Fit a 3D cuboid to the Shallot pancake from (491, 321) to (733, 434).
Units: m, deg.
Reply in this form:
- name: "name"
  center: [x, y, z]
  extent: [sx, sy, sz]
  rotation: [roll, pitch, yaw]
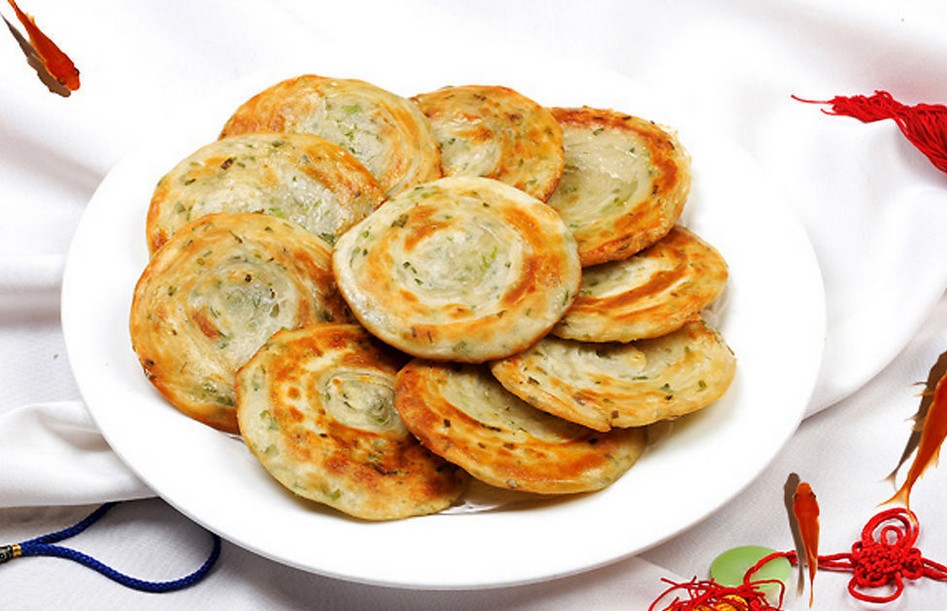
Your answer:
- name: "Shallot pancake"
  center: [0.618, 0.359, 4.773]
  extent: [0.971, 0.750, 0.259]
  rotation: [-5, 106, -10]

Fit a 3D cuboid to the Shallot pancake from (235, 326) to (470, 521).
- name: "Shallot pancake"
  center: [-0.616, 0.579, 4.719]
  extent: [1.002, 0.172, 0.894]
  rotation: [44, 52, 10]

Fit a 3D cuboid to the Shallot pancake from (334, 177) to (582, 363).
- name: "Shallot pancake"
  center: [-0.200, -0.271, 5.279]
  extent: [1.687, 1.159, 0.700]
  rotation: [-14, 112, -30]

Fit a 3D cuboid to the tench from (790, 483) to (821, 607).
- name: "tench"
  center: [1.565, 1.156, 4.777]
  extent: [0.158, 0.294, 0.624]
  rotation: [-4, 83, 12]

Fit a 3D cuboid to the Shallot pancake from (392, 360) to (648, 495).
- name: "Shallot pancake"
  center: [0.205, 0.606, 4.659]
  extent: [0.995, 0.097, 0.652]
  rotation: [9, 37, -15]
